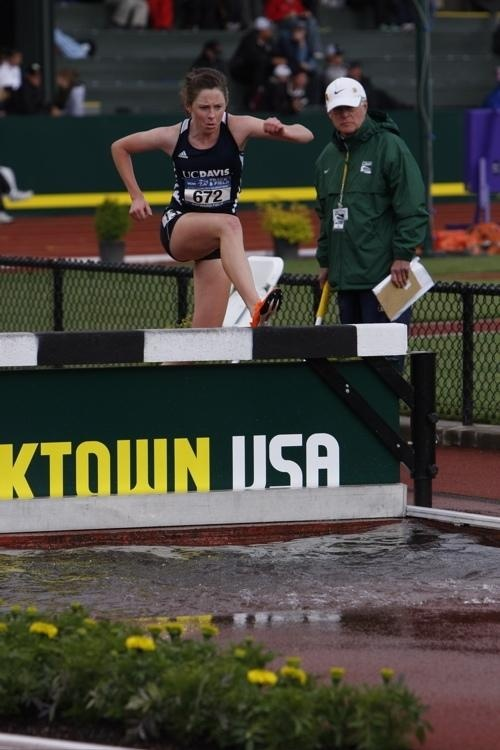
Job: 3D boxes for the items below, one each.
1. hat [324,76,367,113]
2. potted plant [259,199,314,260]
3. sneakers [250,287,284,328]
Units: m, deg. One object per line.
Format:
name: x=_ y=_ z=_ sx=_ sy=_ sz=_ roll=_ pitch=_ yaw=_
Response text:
hat: x=0.482 y=-1.381 z=6.871 sx=0.141 sy=0.122 sz=0.210 roll=-9 pitch=5 yaw=13
potted plant: x=0.794 y=-2.352 z=22.190 sx=1.085 sy=1.179 sz=0.904 roll=-1 pitch=2 yaw=-12
sneakers: x=0.074 y=-0.297 z=6.247 sx=0.144 sy=0.142 sz=0.330 roll=-1 pitch=1 yaw=0
